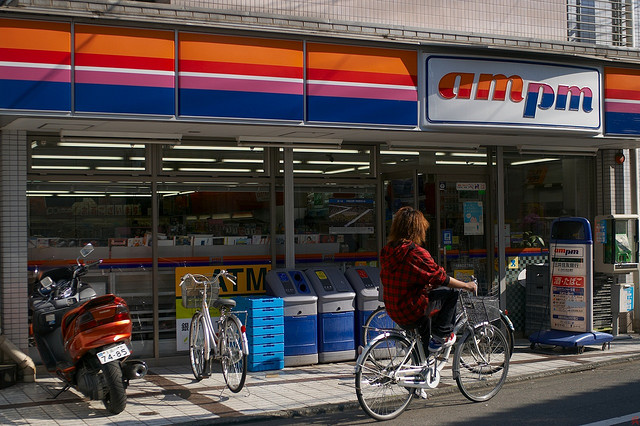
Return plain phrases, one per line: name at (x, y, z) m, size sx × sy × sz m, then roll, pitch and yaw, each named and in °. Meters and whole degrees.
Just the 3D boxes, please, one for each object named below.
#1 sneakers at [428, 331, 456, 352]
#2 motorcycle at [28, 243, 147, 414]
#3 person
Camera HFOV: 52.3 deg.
sneakers at (1.613, 1.708, 8.748) m, size 0.435 × 0.176 × 0.141 m, roll -18°, pitch 2°, yaw -15°
motorcycle at (-3.146, 1.668, 8.790) m, size 1.637 × 1.844 × 0.575 m, roll 4°, pitch 7°, yaw 39°
person at (1.352, 0.888, 8.679) m, size 1.083 × 1.907 × 0.505 m, roll 0°, pitch 5°, yaw 4°
